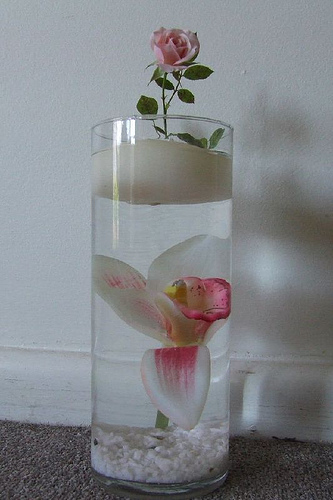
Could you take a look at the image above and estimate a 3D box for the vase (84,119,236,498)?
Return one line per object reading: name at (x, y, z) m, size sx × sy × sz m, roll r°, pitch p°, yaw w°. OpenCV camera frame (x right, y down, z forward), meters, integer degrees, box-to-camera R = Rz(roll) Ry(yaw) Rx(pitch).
vase at (0.001, 0.066, 0.599) m, size 0.179 × 0.408 × 0.230 m, roll 1°, pitch 23°, yaw -8°
